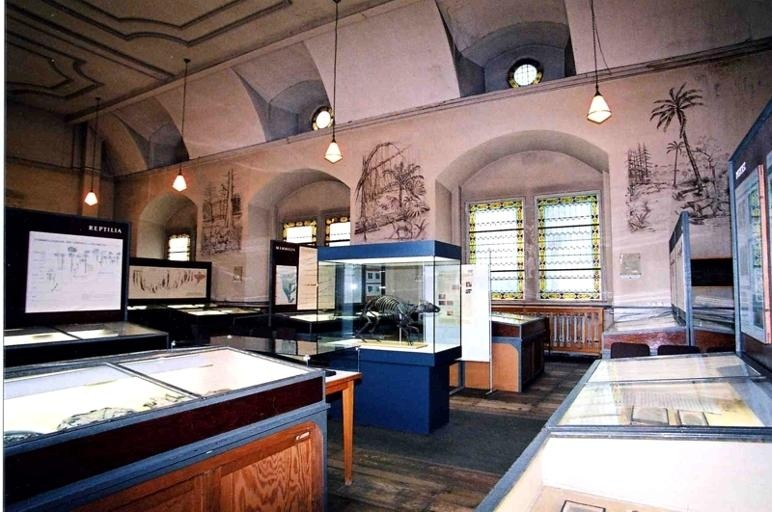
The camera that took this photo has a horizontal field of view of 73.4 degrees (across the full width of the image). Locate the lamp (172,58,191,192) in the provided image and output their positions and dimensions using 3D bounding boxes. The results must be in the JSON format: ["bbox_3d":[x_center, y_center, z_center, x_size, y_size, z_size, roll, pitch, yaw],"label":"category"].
[{"bbox_3d":[-5.175,-3.421,13.167,0.625,0.599,4.377,-4,-22,-24],"label":"lamp"}]
